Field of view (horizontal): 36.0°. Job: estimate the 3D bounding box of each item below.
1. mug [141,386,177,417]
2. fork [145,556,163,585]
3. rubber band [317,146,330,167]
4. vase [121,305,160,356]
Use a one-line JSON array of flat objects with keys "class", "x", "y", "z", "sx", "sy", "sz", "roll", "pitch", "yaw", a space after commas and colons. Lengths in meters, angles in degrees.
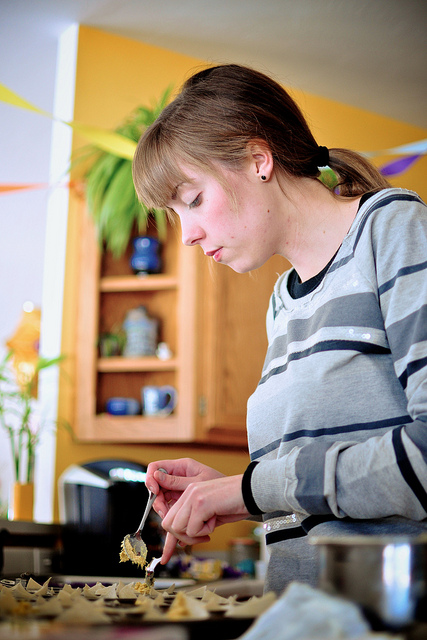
[{"class": "mug", "x": -0.193, "y": 0.304, "z": 2.445, "sx": 0.088, "sy": 0.098, "sz": 0.136, "roll": -4, "pitch": -5, "yaw": 34}, {"class": "fork", "x": -0.075, "y": 0.321, "z": 0.851, "sx": 0.015, "sy": 0.039, "sz": 0.030, "roll": 7, "pitch": -9, "yaw": -17}, {"class": "rubber band", "x": 0.166, "y": -0.249, "z": 0.999, "sx": 0.022, "sy": 0.027, "sz": 0.010, "roll": -4, "pitch": 5, "yaw": -19}, {"class": "vase", "x": -0.277, "y": 0.044, "z": 2.456, "sx": 0.119, "sy": 0.179, "sz": 0.097, "roll": 3, "pitch": -6, "yaw": 1}]
